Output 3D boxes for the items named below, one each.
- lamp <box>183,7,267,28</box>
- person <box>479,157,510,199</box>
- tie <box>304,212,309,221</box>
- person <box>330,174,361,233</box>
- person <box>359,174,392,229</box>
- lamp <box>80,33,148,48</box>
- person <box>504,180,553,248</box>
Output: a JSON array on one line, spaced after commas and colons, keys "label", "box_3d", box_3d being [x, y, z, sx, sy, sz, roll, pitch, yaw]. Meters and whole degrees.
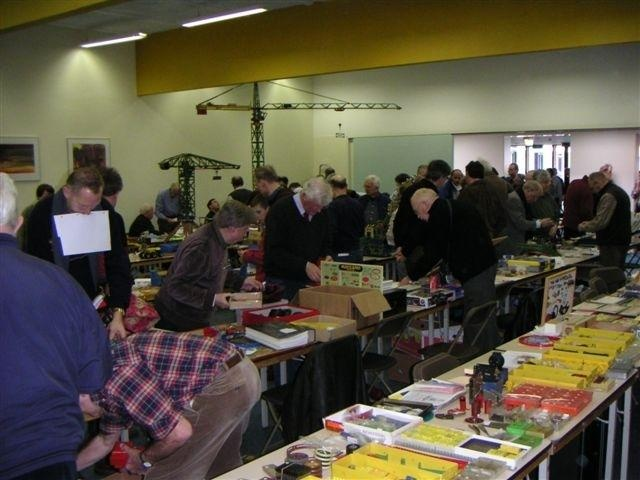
[{"label": "lamp", "box_3d": [-1.491, -3.532, 8.345, 0.983, 0.048, 0.155, -1, 29, 23]}, {"label": "person", "box_3d": [2.419, -0.896, 7.283, 0.360, 0.306, 0.930, -10, -1, 18]}, {"label": "tie", "box_3d": [-0.110, -0.197, 4.482, 0.042, 0.059, 0.015, -5, 5, -25]}, {"label": "person", "box_3d": [0.311, -0.417, 6.172, 0.373, 0.677, 0.719, 0, 6, 2]}, {"label": "person", "box_3d": [0.835, -0.598, 7.977, 0.443, 0.727, 0.481, 0, 6, 1]}, {"label": "lamp", "box_3d": [-3.941, -3.752, 9.911, 1.065, 0.052, 0.167, 7, 40, 34]}, {"label": "person", "box_3d": [2.888, -0.352, 7.162, 0.562, 0.908, 1.426, 3, 7, 24]}]
